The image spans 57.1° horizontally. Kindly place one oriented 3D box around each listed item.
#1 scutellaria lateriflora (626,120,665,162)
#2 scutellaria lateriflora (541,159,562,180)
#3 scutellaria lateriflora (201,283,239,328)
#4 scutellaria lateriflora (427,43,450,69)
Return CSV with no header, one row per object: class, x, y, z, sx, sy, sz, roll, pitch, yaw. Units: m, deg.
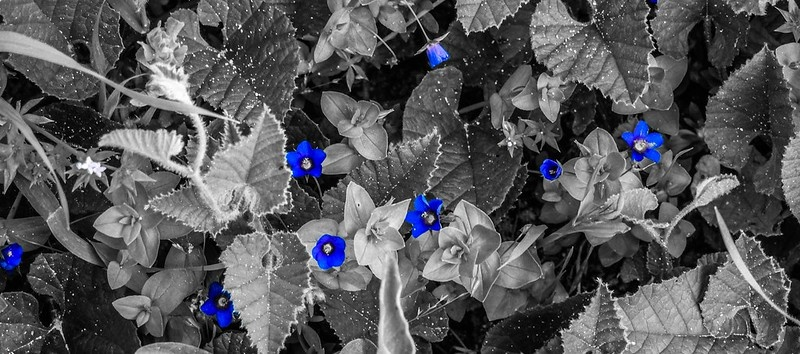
scutellaria lateriflora,1.263,-0.179,3.856,0.227,0.230,0.078,17,-28,-3
scutellaria lateriflora,0.797,-0.044,3.917,0.108,0.102,0.119,-14,3,20
scutellaria lateriflora,-0.943,0.647,3.787,0.157,0.239,0.091,3,-1,-12
scutellaria lateriflora,0.203,-0.678,3.951,0.122,0.127,0.119,-24,18,10
